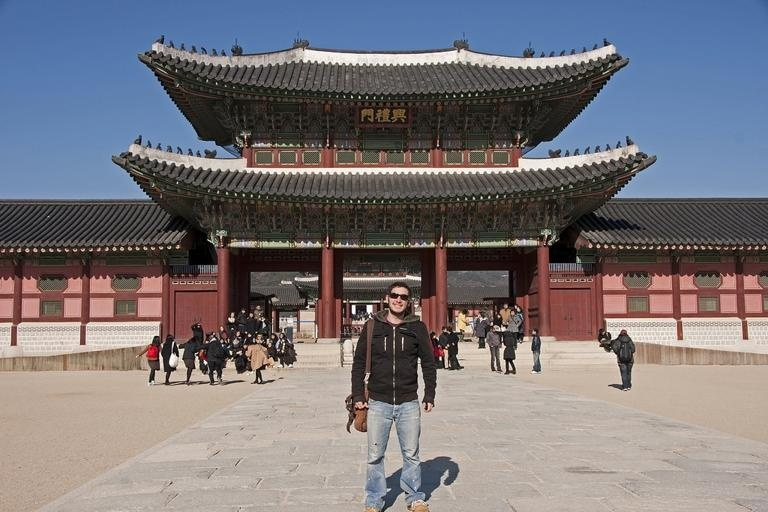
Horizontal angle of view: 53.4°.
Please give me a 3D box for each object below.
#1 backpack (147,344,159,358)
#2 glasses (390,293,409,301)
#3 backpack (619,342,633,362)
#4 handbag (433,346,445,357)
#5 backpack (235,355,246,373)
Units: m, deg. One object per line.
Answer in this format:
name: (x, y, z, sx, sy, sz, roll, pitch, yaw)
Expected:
backpack: (-9.035, 3.689, 29.759, 0.518, 0.675, 0.357, 4, -25, -10)
glasses: (0.310, 0.895, 16.868, 0.399, 0.155, 0.110, 0, -9, 0)
backpack: (8.633, 3.427, 27.253, 0.610, 0.868, 0.458, 1, -20, 9)
handbag: (2.294, 4.007, 31.737, 0.512, 0.243, 0.678, 0, 1, 1)
backpack: (-5.796, 4.323, 30.810, 0.461, 0.674, 0.771, 2, -10, -11)
